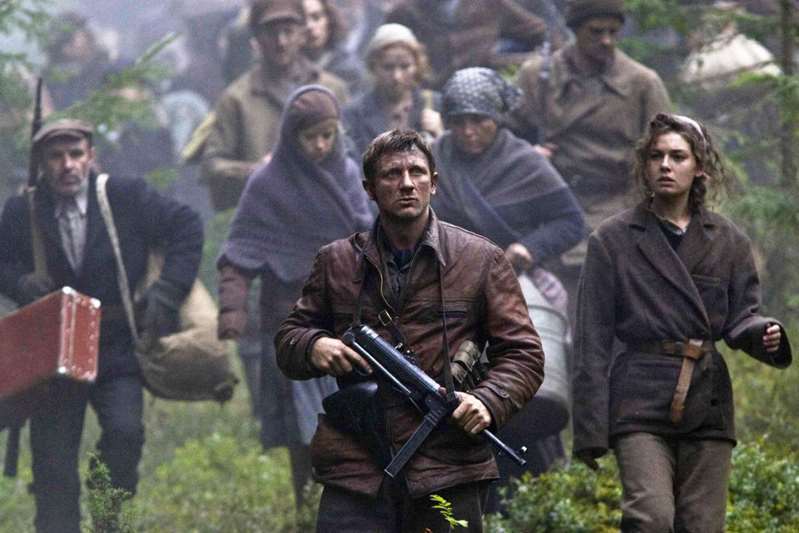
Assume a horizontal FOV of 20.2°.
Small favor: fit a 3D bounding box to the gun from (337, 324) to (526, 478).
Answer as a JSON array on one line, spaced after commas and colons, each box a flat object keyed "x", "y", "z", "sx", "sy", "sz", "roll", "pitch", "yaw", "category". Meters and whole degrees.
[{"x": 0.009, "y": 1.311, "z": 21.028, "sx": 1.054, "sy": 1.458, "sz": 0.202, "roll": -1, "pitch": -7, "yaw": 0, "category": "gun"}]
